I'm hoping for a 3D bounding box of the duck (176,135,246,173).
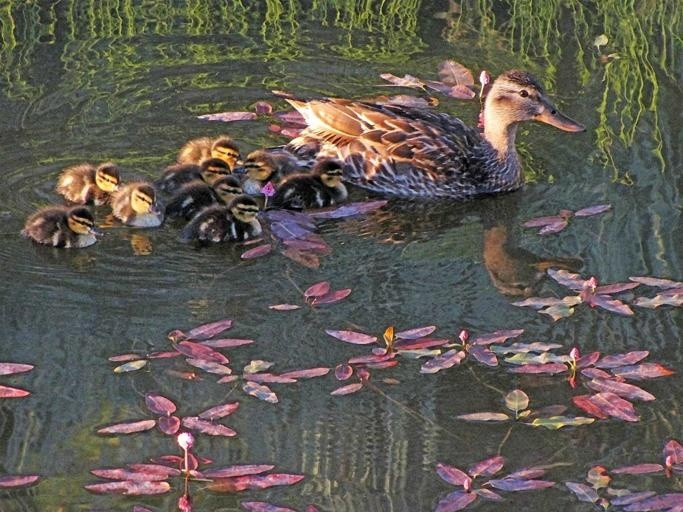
[{"bbox_3d":[-1.078,-0.909,8.303,0.456,0.267,0.480,3,10,-16],"label":"duck"}]

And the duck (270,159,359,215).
[{"bbox_3d":[-0.361,-0.591,7.873,0.803,0.391,0.482,-8,21,-40],"label":"duck"}]

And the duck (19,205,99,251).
[{"bbox_3d":[-2.229,-0.266,7.266,0.664,0.286,0.377,11,35,16],"label":"duck"}]

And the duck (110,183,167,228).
[{"bbox_3d":[-1.734,-0.465,7.427,0.389,0.293,0.491,-24,47,-25],"label":"duck"}]

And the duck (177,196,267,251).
[{"bbox_3d":[-0.932,-0.309,7.422,0.831,0.363,0.414,1,31,20],"label":"duck"}]
